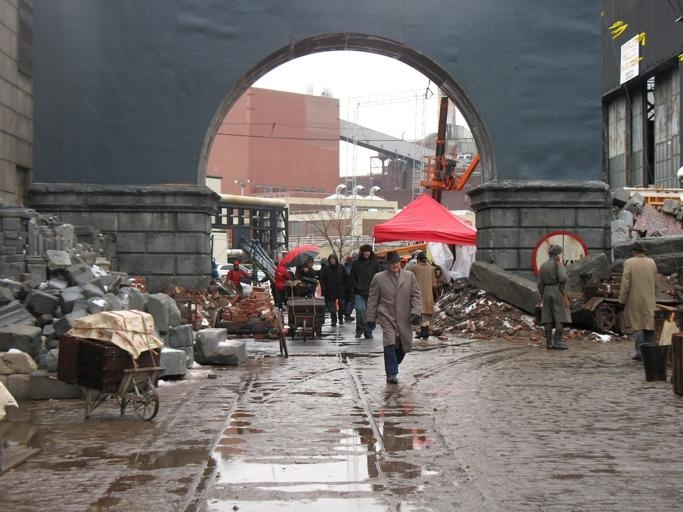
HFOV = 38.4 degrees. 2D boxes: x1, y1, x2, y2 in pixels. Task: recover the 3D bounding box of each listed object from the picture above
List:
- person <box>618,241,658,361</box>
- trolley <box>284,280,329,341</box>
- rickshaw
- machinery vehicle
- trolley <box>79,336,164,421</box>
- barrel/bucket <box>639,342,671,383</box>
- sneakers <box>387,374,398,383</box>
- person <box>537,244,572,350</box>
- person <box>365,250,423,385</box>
[{"bbox_3d":[5.666,0.919,18.753,0.653,2.281,0.877,3,12,18],"label":"person"},{"bbox_3d":[-0.913,1.481,23.889,0.888,1.351,1.436,1,4,-1],"label":"trolley"},{"bbox_3d":[-2.129,1.873,22.738,1.471,1.043,1.190,-3,-2,6],"label":"rickshaw"},{"bbox_3d":[5.603,-4.487,52.305,3.035,8.369,44.907,0,10,6],"label":"machinery vehicle"},{"bbox_3d":[-3.438,1.863,15.120,1.245,1.234,0.920,-1,11,-2],"label":"trolley"},{"bbox_3d":[5.418,1.840,16.998,0.591,0.587,0.601,1,-1,0],"label":"barrel/bucket"},{"bbox_3d":[0.877,2.135,17.151,0.180,0.125,0.221,-1,10,0],"label":"sneakers"},{"bbox_3d":[4.525,0.871,20.949,0.672,2.262,0.965,2,11,12],"label":"person"},{"bbox_3d":[0.910,1.026,17.304,0.939,2.163,0.750,-1,11,1],"label":"person"}]
